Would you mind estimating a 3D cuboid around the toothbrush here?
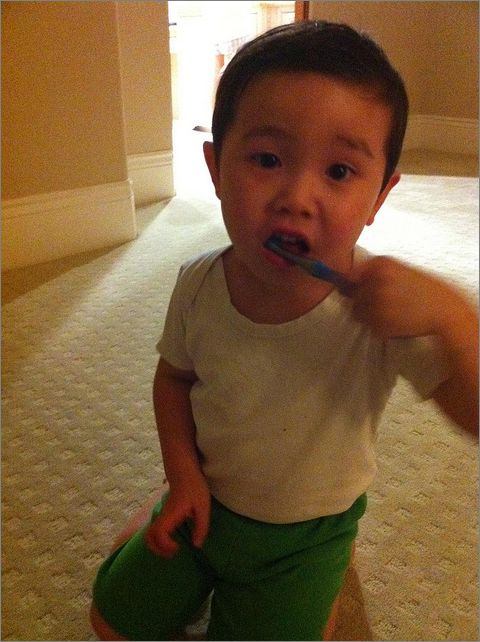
[{"bbox_3d":[0.052,-0.039,0.405,0.067,0.044,0.027,0,21,6],"label":"toothbrush"}]
